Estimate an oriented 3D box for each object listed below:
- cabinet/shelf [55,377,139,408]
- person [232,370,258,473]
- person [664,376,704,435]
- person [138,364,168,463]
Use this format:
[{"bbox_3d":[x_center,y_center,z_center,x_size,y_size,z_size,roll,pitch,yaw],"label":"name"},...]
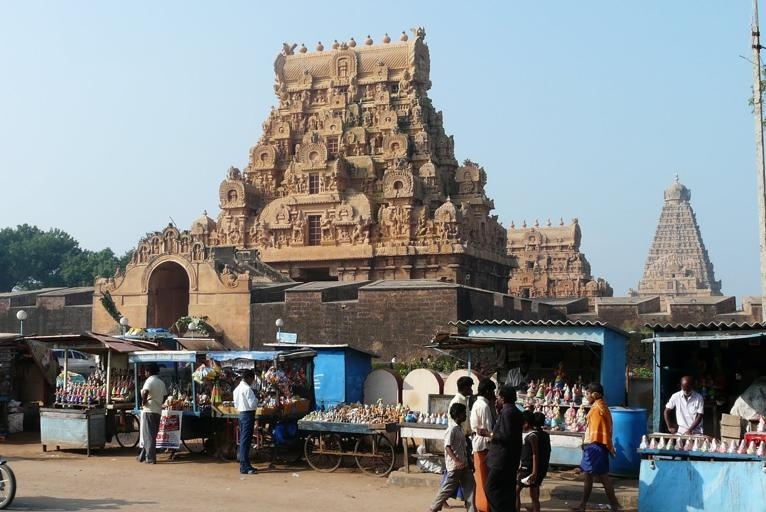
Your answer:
[{"bbox_3d":[-8.314,3.878,42.924,1.410,0.427,1.007,-3,-7,31],"label":"cabinet/shelf"},{"bbox_3d":[-3.611,4.441,40.932,0.708,2.475,0.793,3,2,1],"label":"person"},{"bbox_3d":[7.666,3.907,38.991,0.907,1.628,0.764,0,-5,-8],"label":"person"},{"bbox_3d":[-6.456,4.288,41.906,0.828,2.655,1.005,-3,-7,15],"label":"person"}]
